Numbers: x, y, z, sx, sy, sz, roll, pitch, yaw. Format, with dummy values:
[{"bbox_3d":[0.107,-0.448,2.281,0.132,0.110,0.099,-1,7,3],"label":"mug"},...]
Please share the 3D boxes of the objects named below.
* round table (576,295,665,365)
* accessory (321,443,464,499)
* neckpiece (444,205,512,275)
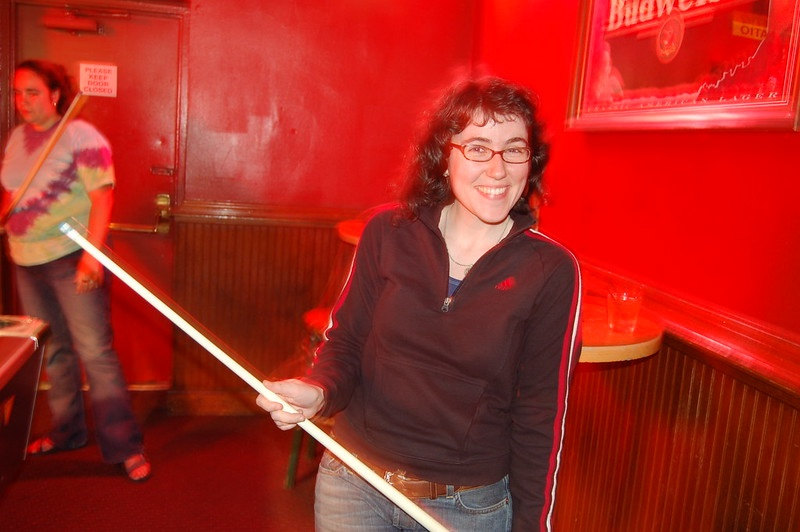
[{"bbox_3d":[0.920,0.308,2.454,0.325,0.217,0.560,8,17,18],"label":"round table"},{"bbox_3d":[0.060,0.576,1.739,0.204,0.062,0.212,15,-1,33],"label":"accessory"},{"bbox_3d":[0.204,-0.083,1.882,0.134,0.245,0.056,14,-4,10],"label":"neckpiece"}]
